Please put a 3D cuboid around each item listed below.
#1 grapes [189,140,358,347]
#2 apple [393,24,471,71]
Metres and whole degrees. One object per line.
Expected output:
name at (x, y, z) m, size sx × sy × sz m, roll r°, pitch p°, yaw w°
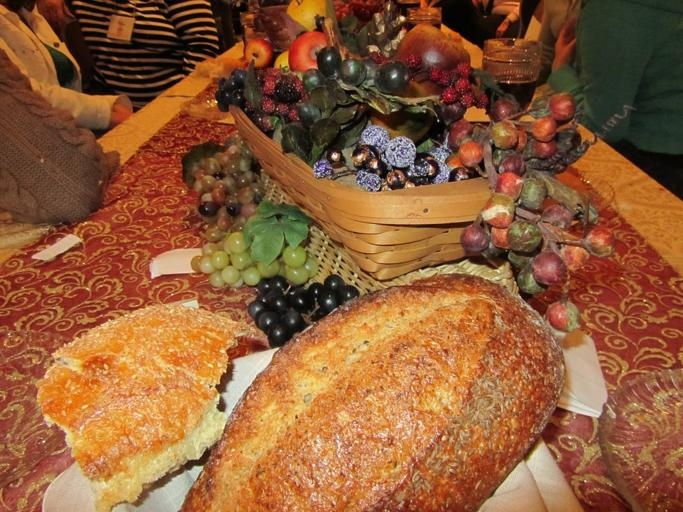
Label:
grapes at (-0.193, -0.037, 1.409) m, size 0.351 × 0.183 × 0.585 m, roll -41°, pitch 63°, yaw 2°
apple at (0.203, -0.462, 1.187) m, size 0.155 × 0.062 × 0.099 m, roll 27°, pitch 60°, yaw 21°
